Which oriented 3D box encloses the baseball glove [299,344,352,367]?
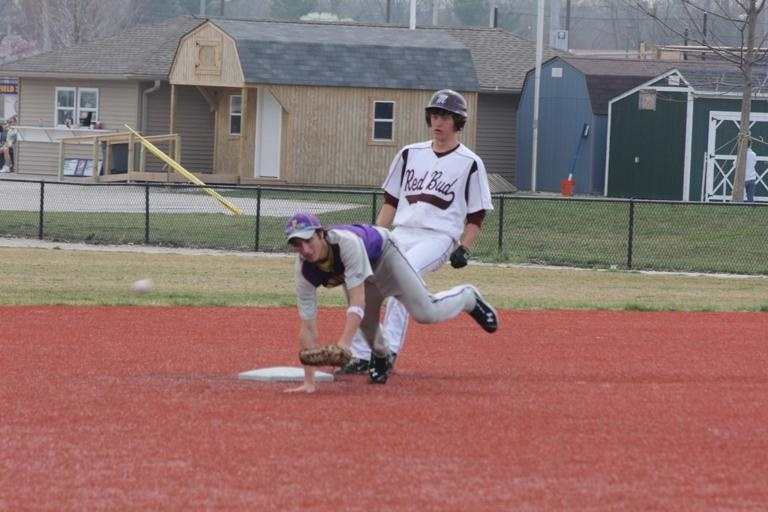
[{"bbox_3d":[-0.993,1.661,26.565,0.699,0.300,0.422,-1,-1,13],"label":"baseball glove"}]

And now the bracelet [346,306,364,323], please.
[{"bbox_3d":[-0.491,0.981,26.612,0.239,0.190,0.255,18,-4,16],"label":"bracelet"}]

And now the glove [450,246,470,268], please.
[{"bbox_3d":[1.379,0.002,27.622,0.297,0.398,0.200,28,-1,37],"label":"glove"}]

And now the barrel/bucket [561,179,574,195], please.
[{"bbox_3d":[5.371,-2.029,44.631,0.429,0.451,0.450,1,1,0],"label":"barrel/bucket"}]
